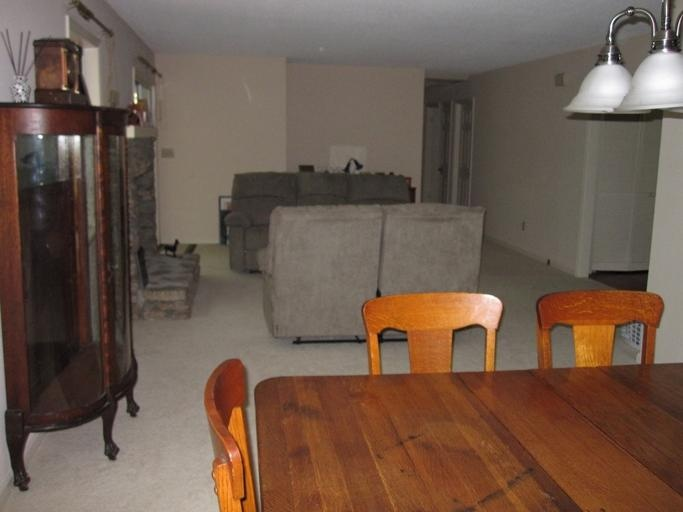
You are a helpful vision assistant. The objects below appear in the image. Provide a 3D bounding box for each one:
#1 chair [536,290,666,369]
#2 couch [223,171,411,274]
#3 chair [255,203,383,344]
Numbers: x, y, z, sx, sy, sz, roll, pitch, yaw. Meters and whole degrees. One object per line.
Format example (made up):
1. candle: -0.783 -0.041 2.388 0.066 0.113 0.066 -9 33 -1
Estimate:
1. chair: 1.084 0.257 2.402 0.367 0.580 0.389 -1 10 3
2. couch: -0.064 -0.301 7.525 2.688 1.399 1.311 2 -3 27
3. chair: -0.134 0.008 4.434 1.033 1.268 0.899 0 12 -9
